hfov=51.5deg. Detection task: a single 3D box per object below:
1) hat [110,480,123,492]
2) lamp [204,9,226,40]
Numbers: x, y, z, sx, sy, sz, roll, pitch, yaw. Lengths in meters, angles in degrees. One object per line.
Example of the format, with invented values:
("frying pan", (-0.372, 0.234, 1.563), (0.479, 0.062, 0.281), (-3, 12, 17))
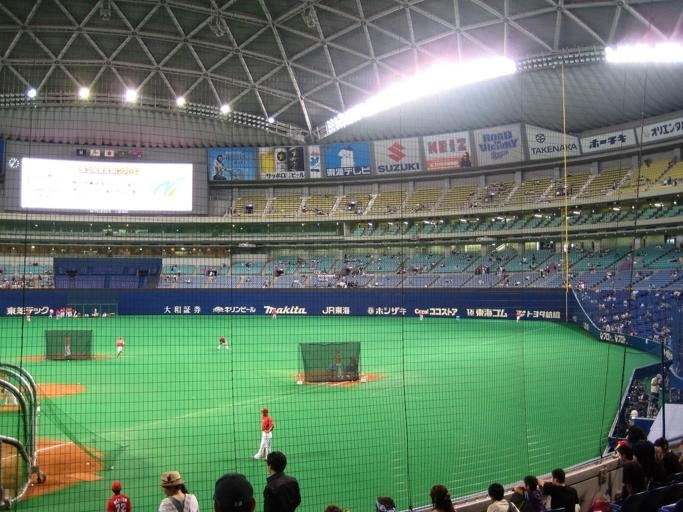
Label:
("hat", (-7.112, 7.303, 22.467), (0.229, 0.346, 0.694), (-3, -13, -14))
("lamp", (-9.164, -17.693, 54.054), (1.377, 1.554, 2.774), (4, -4, -6))
